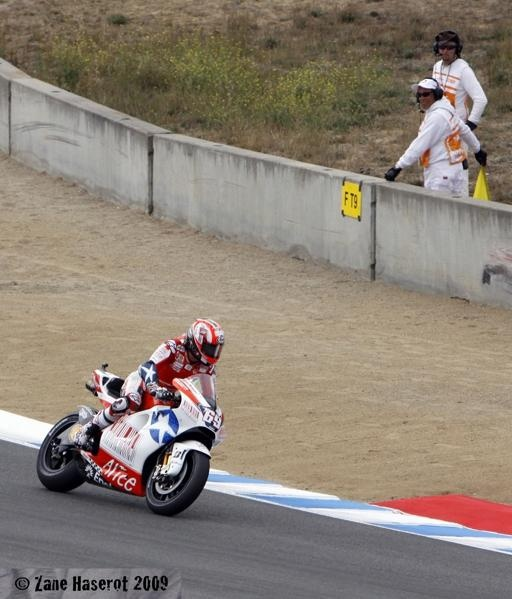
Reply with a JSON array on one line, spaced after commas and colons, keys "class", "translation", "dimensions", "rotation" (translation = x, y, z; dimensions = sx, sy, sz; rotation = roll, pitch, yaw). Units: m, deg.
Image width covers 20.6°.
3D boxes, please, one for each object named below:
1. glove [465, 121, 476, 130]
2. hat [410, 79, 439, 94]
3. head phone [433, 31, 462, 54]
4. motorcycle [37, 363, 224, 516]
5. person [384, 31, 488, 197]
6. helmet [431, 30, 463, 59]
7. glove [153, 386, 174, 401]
[{"class": "glove", "translation": [2.320, -1.875, 15.180], "dimensions": [0.083, 0.120, 0.114], "rotation": [-33, 13, -5]}, {"class": "hat", "translation": [1.762, -2.236, 14.606], "dimensions": [0.293, 0.131, 0.406], "rotation": [4, 13, 6]}, {"class": "head phone", "translation": [2.059, -2.784, 15.225], "dimensions": [0.219, 0.335, 0.180], "rotation": [4, 21, 10]}, {"class": "motorcycle", "translation": [-0.823, 0.950, 9.461], "dimensions": [1.321, 0.919, 0.486], "rotation": [10, 14, 30]}, {"class": "person", "translation": [2.002, -1.964, 15.111], "dimensions": [0.770, 1.789, 1.322], "rotation": [7, 13, 24]}, {"class": "helmet", "translation": [2.059, -2.746, 15.243], "dimensions": [0.250, 0.394, 0.228], "rotation": [4, 20, 9]}, {"class": "glove", "translation": [-0.596, 0.604, 9.174], "dimensions": [0.073, 0.044, 0.100], "rotation": [27, 10, 10]}]
